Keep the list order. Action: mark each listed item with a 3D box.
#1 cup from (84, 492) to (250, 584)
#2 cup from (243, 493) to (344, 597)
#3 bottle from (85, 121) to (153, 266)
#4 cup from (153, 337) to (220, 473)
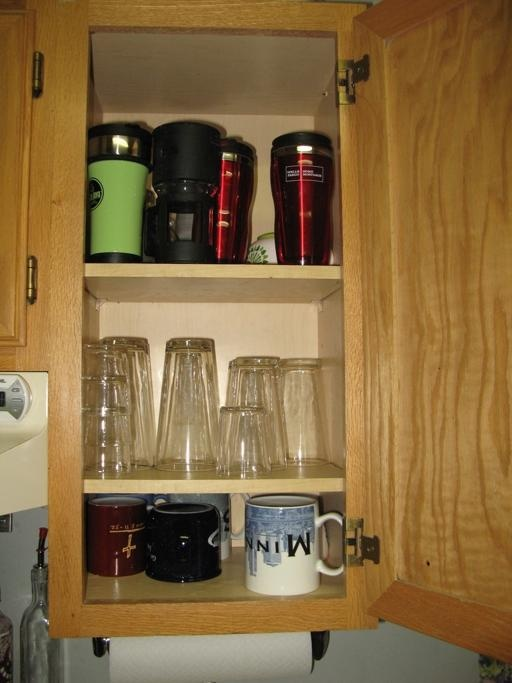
[{"bbox_3d":[-0.149,0.279,0.954,0.162,0.098,0.111,0,-5,7],"label":"cup"},{"bbox_3d":[0.067,0.289,0.904,0.135,0.124,0.093,-5,-5,24],"label":"cup"},{"bbox_3d":[-0.196,-0.199,0.912,0.085,0.187,0.087,2,-3,0],"label":"bottle"},{"bbox_3d":[-0.106,0.105,0.997,0.128,0.273,0.141,1,-10,-6],"label":"cup"}]
